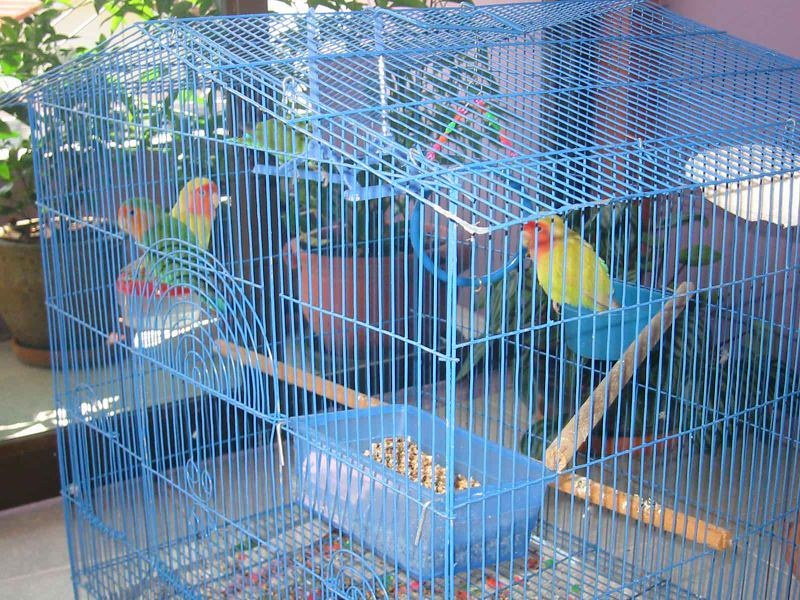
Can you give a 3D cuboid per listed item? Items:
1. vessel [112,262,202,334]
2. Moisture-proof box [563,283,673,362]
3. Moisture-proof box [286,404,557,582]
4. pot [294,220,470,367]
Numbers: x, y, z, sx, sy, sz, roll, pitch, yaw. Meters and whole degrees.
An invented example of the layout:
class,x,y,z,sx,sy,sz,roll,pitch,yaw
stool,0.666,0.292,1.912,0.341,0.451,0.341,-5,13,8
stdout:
class,x,y,z,sx,sy,sz,roll,pitch,yaw
vessel,-0.623,-0.042,2.429,0.191,0.137,0.202,-3,10,-19
Moisture-proof box,0.649,0.074,2.751,0.256,0.160,0.329,11,-13,-36
Moisture-proof box,0.026,0.424,2.196,0.364,0.216,0.552,-7,20,-36
pot,-0.097,-0.020,2.949,0.430,0.350,0.455,1,4,0
